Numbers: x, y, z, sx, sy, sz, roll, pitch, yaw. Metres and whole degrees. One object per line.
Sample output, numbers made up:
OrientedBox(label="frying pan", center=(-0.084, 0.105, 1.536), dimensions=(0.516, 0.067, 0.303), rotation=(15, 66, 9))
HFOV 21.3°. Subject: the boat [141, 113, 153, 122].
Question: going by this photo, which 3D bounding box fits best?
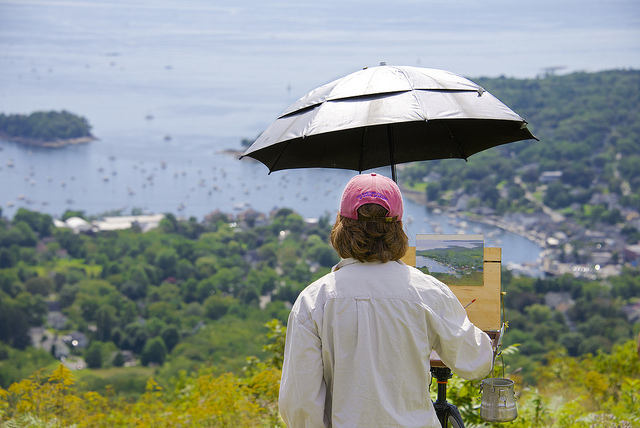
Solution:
OrientedBox(label="boat", center=(-8.902, -4.804, 86.307), dimensions=(0.445, 0.431, 0.421), rotation=(8, 44, 17))
